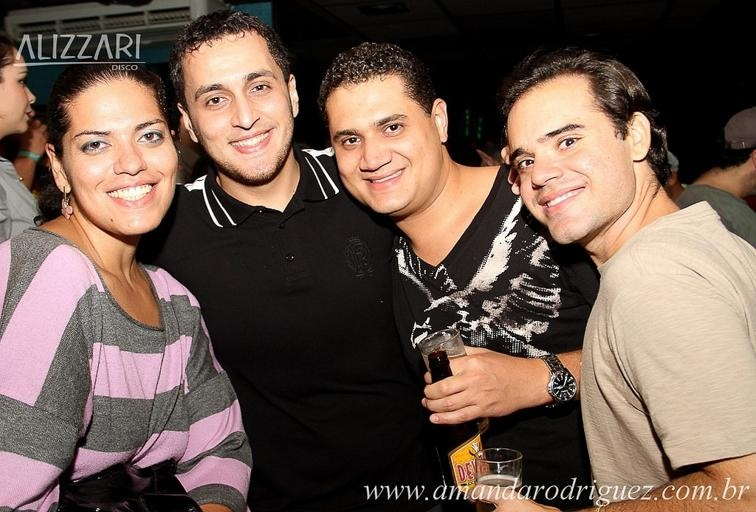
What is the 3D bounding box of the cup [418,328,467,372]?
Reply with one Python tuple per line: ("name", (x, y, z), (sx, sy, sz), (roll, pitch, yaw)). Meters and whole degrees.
("cup", (0.254, 0.362, 2.404), (0.158, 0.164, 0.174), (-30, 0, 0))
